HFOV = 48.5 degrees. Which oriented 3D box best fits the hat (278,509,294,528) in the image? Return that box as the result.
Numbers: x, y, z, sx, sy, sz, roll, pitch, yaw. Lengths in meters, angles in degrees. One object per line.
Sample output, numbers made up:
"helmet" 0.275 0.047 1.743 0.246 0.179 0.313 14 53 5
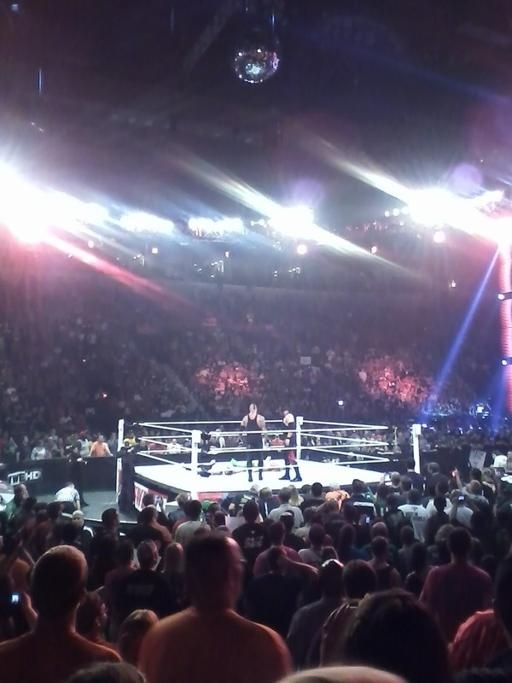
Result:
"hat" 0.281 1.591 5.148 0.110 0.214 0.178 2 -4 9
